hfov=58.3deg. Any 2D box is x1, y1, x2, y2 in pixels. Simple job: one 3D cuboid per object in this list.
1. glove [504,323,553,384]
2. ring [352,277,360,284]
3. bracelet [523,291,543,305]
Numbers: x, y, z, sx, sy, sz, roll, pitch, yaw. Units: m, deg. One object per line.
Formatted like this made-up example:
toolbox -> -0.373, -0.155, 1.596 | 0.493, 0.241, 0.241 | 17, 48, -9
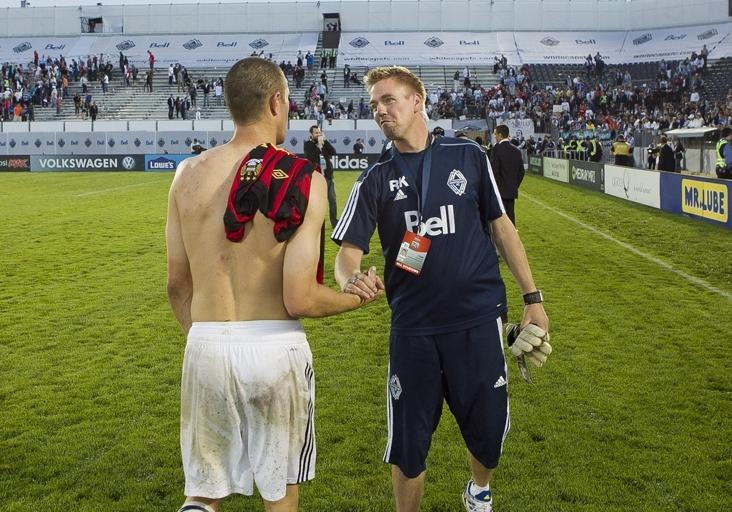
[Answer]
glove -> 1.072, 0.591, 4.323 | 0.270, 0.411, 0.210 | -40, -16, 12
ring -> -0.064, 0.150, 3.970 | 0.029, 0.015, 0.043 | 2, 46, 23
bracelet -> 1.104, 0.287, 4.333 | 0.119, 0.093, 0.127 | -2, -11, -25
